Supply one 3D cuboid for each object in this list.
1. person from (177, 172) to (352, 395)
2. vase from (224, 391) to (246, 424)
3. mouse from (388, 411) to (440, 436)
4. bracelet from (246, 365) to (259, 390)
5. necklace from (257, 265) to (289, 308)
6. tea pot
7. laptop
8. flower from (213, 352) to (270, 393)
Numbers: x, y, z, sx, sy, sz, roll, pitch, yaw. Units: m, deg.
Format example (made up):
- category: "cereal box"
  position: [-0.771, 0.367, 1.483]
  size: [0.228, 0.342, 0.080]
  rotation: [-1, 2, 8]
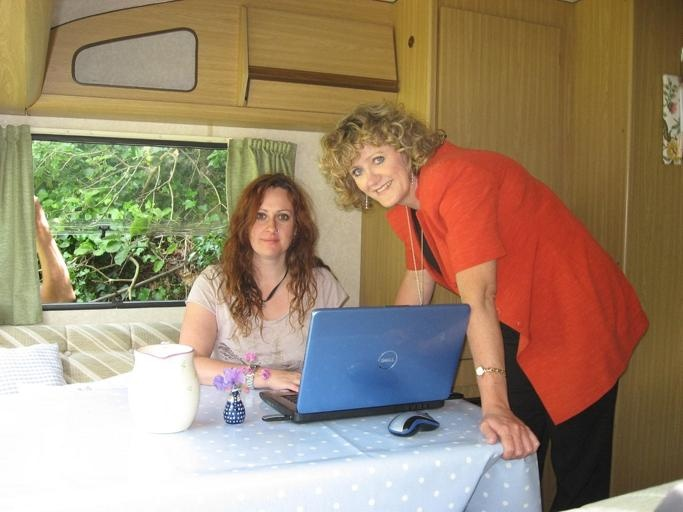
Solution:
- category: "person"
  position: [-0.344, 0.300, 2.575]
  size: [0.799, 1.398, 0.355]
  rotation: [-3, 23, -24]
- category: "vase"
  position: [-0.326, 0.455, 1.704]
  size: [0.062, 0.098, 0.065]
  rotation: [0, 4, 16]
- category: "mouse"
  position: [0.221, 0.484, 1.675]
  size: [0.112, 0.042, 0.068]
  rotation: [-1, -1, -36]
- category: "bracelet"
  position: [-0.309, 0.416, 1.932]
  size: [0.026, 0.080, 0.069]
  rotation: [1, 20, 5]
- category: "necklace"
  position: [-0.291, 0.137, 2.448]
  size: [0.054, 0.020, 0.167]
  rotation: [9, 43, 28]
- category: "tea pot"
  position: [-0.537, 0.407, 1.705]
  size: [0.192, 0.264, 0.262]
  rotation: [1, 0, -12]
- category: "laptop"
  position: [0.082, 0.300, 1.860]
  size: [0.528, 0.357, 0.476]
  rotation: [1, 5, -14]
- category: "flower"
  position: [-0.317, 0.383, 1.814]
  size: [0.121, 0.068, 0.183]
  rotation: [-1, 11, 30]
